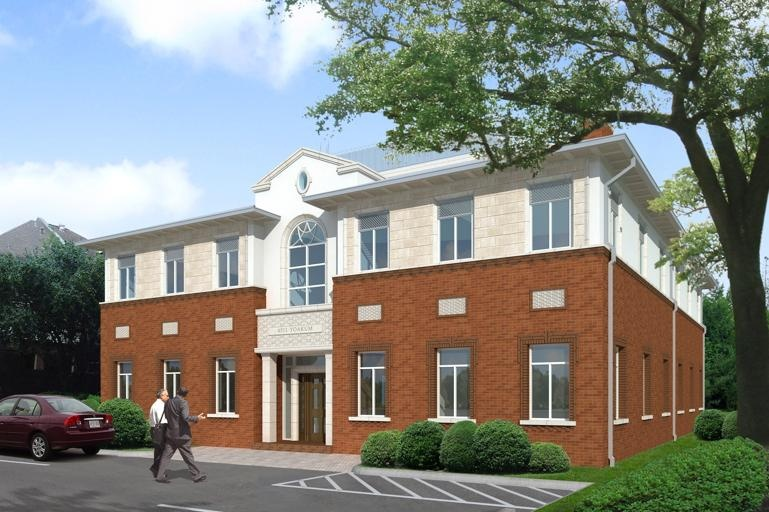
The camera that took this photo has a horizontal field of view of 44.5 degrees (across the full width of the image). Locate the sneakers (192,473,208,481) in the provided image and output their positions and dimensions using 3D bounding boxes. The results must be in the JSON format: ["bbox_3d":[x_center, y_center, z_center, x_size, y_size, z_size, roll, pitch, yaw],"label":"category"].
[{"bbox_3d":[-5.754,6.893,29.327,0.157,0.196,0.459,0,-2,27],"label":"sneakers"}]
